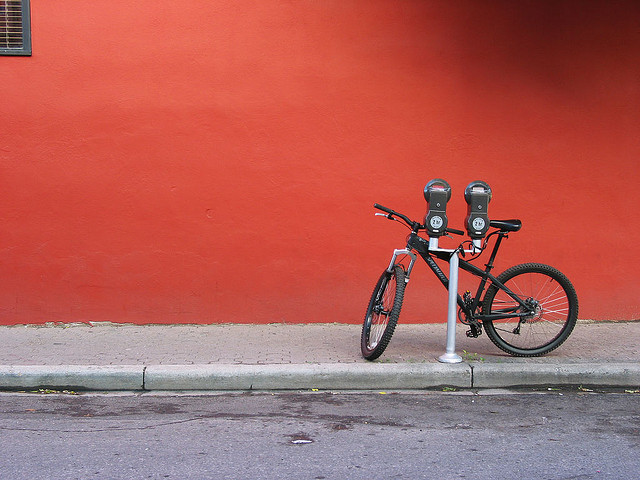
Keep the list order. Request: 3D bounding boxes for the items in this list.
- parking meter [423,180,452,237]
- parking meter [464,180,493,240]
[{"bbox_3d":[1.208,-0.329,7.829,0.263,0.568,0.364,4,-19,8],"label":"parking meter"},{"bbox_3d":[1.579,-0.310,7.909,0.375,0.583,0.293,-3,9,-31],"label":"parking meter"}]
